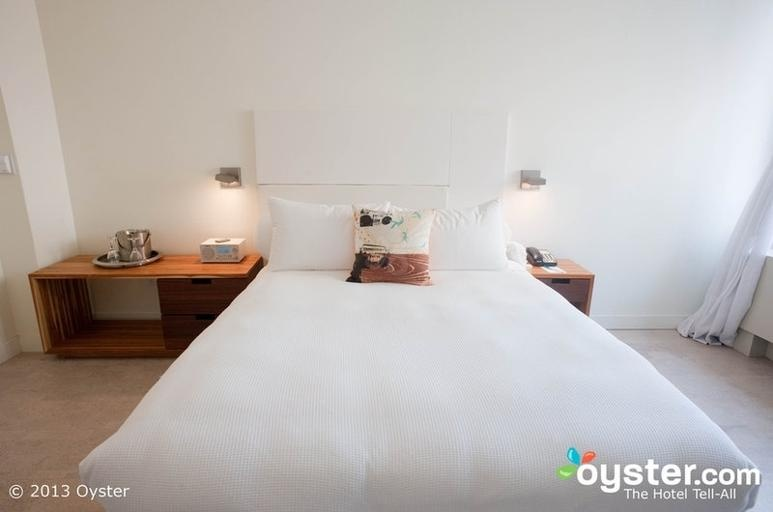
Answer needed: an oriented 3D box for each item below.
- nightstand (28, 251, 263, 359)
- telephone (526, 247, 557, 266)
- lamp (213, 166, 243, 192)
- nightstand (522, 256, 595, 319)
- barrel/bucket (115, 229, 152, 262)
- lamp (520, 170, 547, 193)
[{"bbox_3d":[-1.877,0.404,3.881,1.581,0.739,0.638,0,15,-1],"label":"nightstand"},{"bbox_3d":[1.268,0.015,3.885,0.176,0.067,0.175,3,17,4],"label":"telephone"},{"bbox_3d":[-1.287,-0.637,3.852,0.196,0.191,0.170,0,11,-1],"label":"lamp"},{"bbox_3d":[1.392,0.200,3.841,0.552,0.523,0.423,0,18,1],"label":"nightstand"},{"bbox_3d":[-2.049,-0.081,3.811,0.230,0.205,0.229,3,16,-1],"label":"barrel/bucket"},{"bbox_3d":[1.212,-0.622,3.893,0.167,0.172,0.175,-1,10,-6],"label":"lamp"}]
